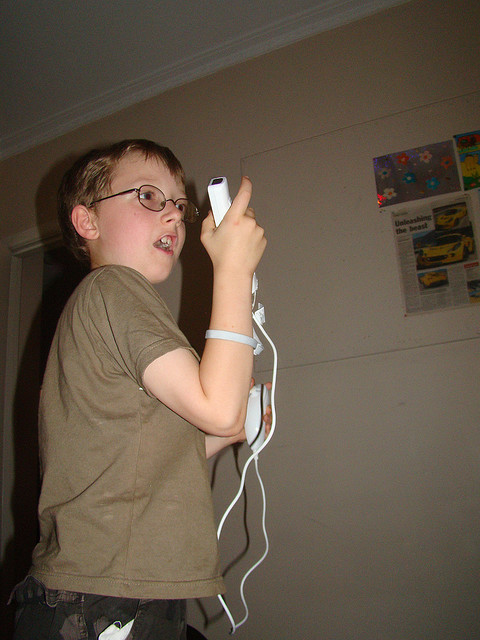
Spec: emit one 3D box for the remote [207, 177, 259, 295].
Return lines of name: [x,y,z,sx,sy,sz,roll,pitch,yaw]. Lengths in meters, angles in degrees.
remote: [-0.020,-0.182,1.019,0.063,0.266,0.072,-7,-8,17]

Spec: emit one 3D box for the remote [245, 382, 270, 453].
remote: [0.038,0.204,1.173,0.042,0.139,0.043,-1,-10,39]

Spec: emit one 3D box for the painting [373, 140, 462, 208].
painting: [0.608,-0.506,1.938,0.270,0.201,0.059,-8,2,23]
